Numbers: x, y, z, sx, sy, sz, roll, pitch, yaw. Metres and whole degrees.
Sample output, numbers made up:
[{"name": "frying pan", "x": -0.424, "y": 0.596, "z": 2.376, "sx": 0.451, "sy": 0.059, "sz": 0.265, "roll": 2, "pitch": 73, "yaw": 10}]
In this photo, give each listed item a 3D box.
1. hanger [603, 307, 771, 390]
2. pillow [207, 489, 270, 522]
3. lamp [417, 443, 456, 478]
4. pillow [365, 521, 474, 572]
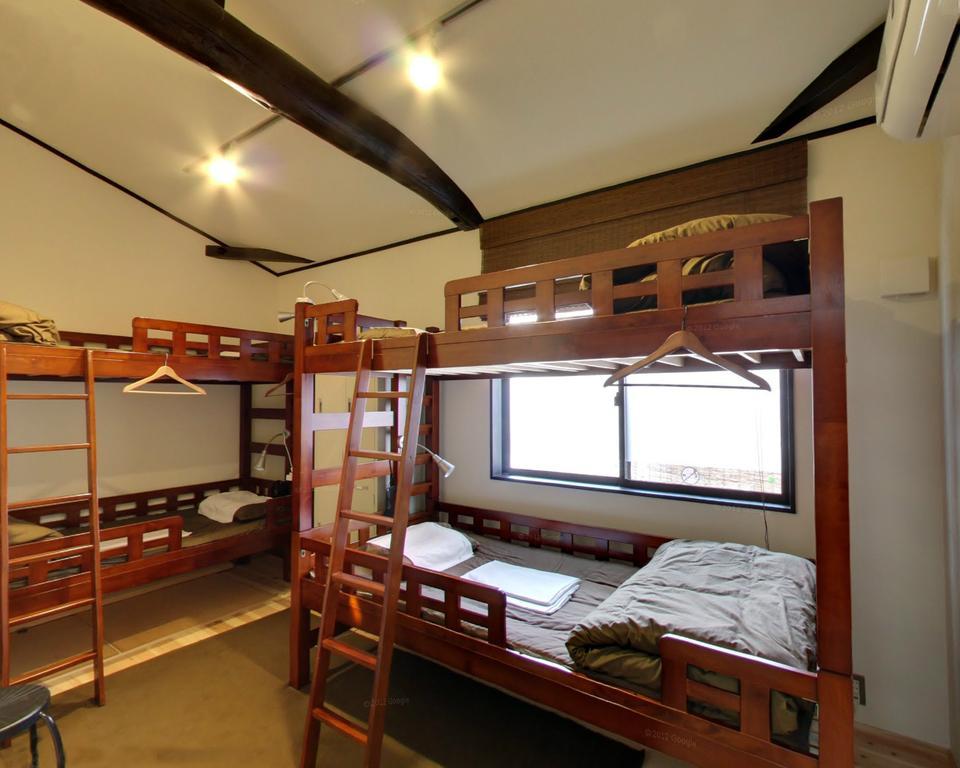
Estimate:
[{"name": "hanger", "x": 0.868, "y": -0.126, "z": 3.061, "sx": 0.038, "sy": 0.326, "sz": 0.734, "roll": -3, "pitch": 4, "yaw": -44}, {"name": "pillow", "x": -1.796, "y": 0.918, "z": 5.393, "sx": 0.296, "sy": 0.069, "sz": 0.270, "roll": 1, "pitch": 0, "yaw": 24}, {"name": "lamp", "x": -0.305, "y": 0.524, "z": 4.865, "sx": 0.301, "sy": 0.109, "sz": 0.121, "roll": 39, "pitch": -26, "yaw": -5}, {"name": "pillow", "x": -0.320, "y": 0.918, "z": 4.279, "sx": 0.364, "sy": 0.078, "sz": 0.358, "roll": 2, "pitch": 2, "yaw": 38}]
